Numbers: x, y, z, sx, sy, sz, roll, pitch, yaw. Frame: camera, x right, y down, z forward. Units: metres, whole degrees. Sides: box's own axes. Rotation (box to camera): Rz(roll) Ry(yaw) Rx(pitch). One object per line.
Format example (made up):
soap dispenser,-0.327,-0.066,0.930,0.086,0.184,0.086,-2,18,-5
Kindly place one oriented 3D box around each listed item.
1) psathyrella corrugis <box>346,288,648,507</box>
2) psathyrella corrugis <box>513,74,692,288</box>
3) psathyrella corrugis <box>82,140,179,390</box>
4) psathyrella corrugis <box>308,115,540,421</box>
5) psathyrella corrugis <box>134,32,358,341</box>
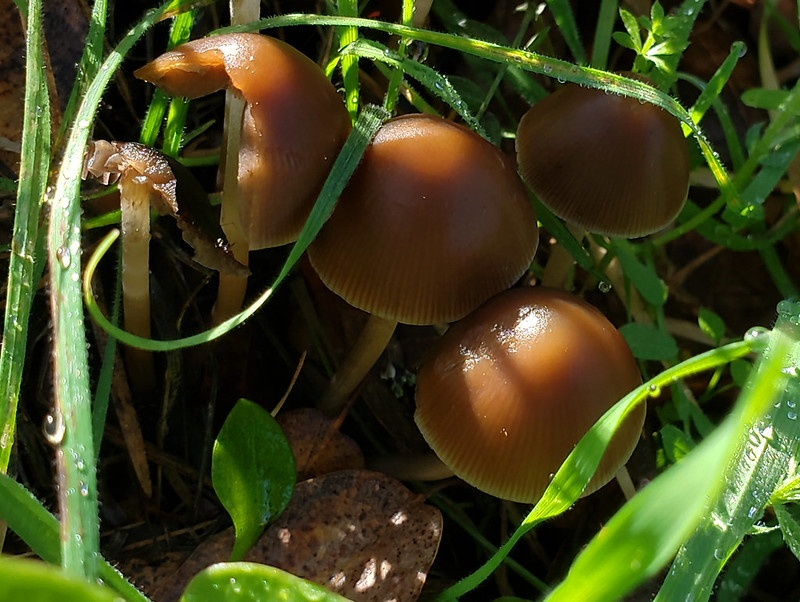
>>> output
psathyrella corrugis,0.246,0.184,1.850,0.389,0.361,0.498,-15,71,-7
psathyrella corrugis,0.465,-0.322,2.007,0.417,0.276,0.169,23,37,2
psathyrella corrugis,-0.557,-0.075,1.891,0.173,0.543,0.155,18,21,42
psathyrella corrugis,0.057,-0.129,2.000,0.518,0.491,0.423,13,21,43
psathyrella corrugis,-0.317,-0.360,1.823,0.402,0.299,0.271,26,38,7
